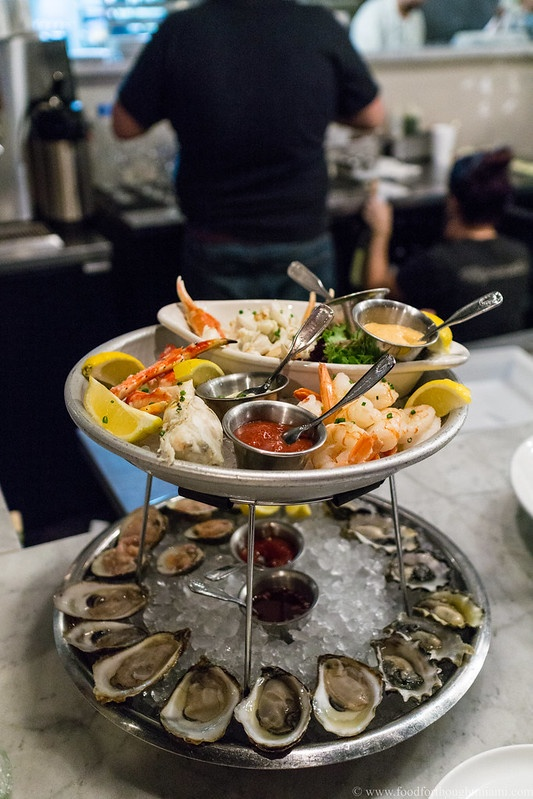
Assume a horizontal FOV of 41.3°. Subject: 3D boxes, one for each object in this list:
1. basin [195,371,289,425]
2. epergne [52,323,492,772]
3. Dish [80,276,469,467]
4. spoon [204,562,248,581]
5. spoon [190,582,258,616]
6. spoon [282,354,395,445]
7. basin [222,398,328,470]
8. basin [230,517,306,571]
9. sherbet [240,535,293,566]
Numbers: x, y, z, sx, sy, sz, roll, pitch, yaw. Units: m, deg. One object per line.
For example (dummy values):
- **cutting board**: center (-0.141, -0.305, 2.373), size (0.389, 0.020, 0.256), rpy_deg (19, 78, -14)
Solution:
- **basin**: center (-0.033, -0.009, 0.890), size (0.081, 0.026, 0.074), rpy_deg (-2, 29, 1)
- **epergne**: center (0.014, 0.136, 0.916), size (0.588, 0.341, 0.598), rpy_deg (-6, 27, -10)
- **Dish**: center (-0.009, -0.027, 0.853), size (0.374, 0.068, 0.239), rpy_deg (-1, 36, -3)
- **spoon**: center (-0.053, 0.221, 0.923), size (0.021, 0.017, 0.080), rpy_deg (-2, -4, 25)
- **spoon**: center (-0.044, 0.257, 0.906), size (0.098, 0.015, 0.030), rpy_deg (19, 37, -12)
- **spoon**: center (0.087, 0.002, 0.845), size (0.167, 0.020, 0.027), rpy_deg (-33, 39, 1)
- **basin**: center (0.012, 0.038, 0.784), size (0.093, 0.032, 0.084), rpy_deg (10, 35, 11)
- **basin**: center (0.004, 0.211, 1.021), size (0.077, 0.024, 0.070), rpy_deg (1, 27, 7)
- **sherbet**: center (0.000, 0.213, 0.984), size (0.075, 0.023, 0.068), rpy_deg (1, 18, 2)
